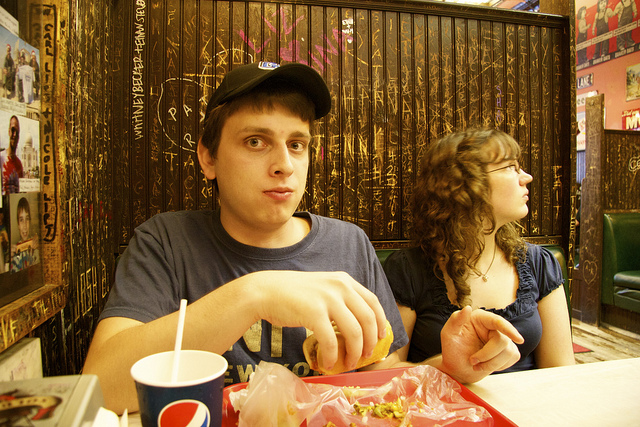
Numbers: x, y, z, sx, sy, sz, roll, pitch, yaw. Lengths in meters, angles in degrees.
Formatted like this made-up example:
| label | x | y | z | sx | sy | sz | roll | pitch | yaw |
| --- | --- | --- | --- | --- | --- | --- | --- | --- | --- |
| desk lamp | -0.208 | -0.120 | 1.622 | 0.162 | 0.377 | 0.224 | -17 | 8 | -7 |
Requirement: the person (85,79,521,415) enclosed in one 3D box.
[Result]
| label | x | y | z | sx | sy | sz | roll | pitch | yaw |
| --- | --- | --- | --- | --- | --- | --- | --- | --- | --- |
| person | -0.151 | 0.153 | 2.023 | 1.126 | 1.427 | 1.403 | 7 | -11 | -24 |

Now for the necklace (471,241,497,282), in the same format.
| label | x | y | z | sx | sy | sz | roll | pitch | yaw |
| --- | --- | --- | --- | --- | --- | --- | --- | --- | --- |
| necklace | 0.819 | 0.249 | 2.265 | 0.171 | 0.202 | 0.012 | -9 | -4 | -23 |

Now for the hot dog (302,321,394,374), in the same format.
| label | x | y | z | sx | sy | sz | roll | pitch | yaw |
| --- | --- | --- | --- | --- | --- | --- | --- | --- | --- |
| hot dog | 0.101 | 0.461 | 1.534 | 0.252 | 0.103 | 0.193 | -4 | 17 | -30 |

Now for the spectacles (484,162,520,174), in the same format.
| label | x | y | z | sx | sy | sz | roll | pitch | yaw |
| --- | --- | --- | --- | --- | --- | --- | --- | --- | --- |
| spectacles | 0.946 | -0.234 | 2.305 | 0.201 | 0.060 | 0.041 | -1 | 2 | -15 |
